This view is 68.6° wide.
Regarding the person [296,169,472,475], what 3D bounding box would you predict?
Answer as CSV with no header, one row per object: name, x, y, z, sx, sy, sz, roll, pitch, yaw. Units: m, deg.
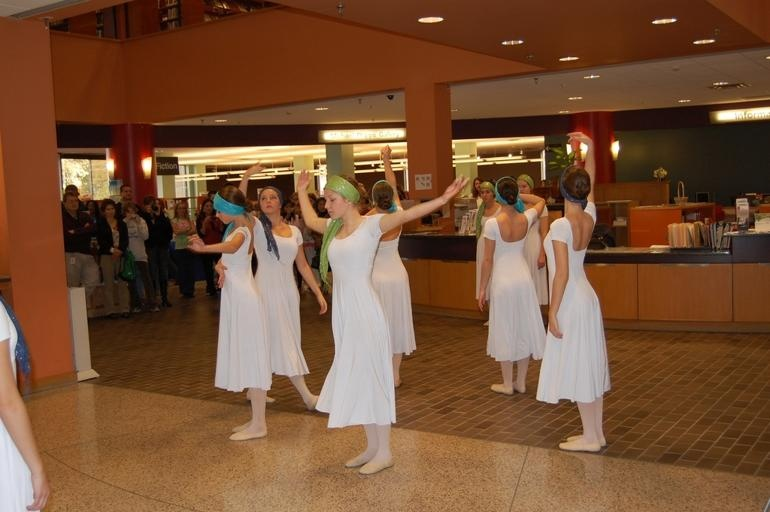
person,-0.178,0.547,4.620,0.702,2.401,1.552,-7,8,-40

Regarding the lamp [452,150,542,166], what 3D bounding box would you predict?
lamp,5.086,-4.513,25.824,4.713,0.616,1.538,-7,9,-33

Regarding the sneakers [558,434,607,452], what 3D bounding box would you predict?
sneakers,1.685,1.570,4.831,0.285,0.124,0.172,5,4,18

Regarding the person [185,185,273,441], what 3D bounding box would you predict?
person,-1.395,0.521,5.377,0.564,2.342,0.607,-3,6,-14

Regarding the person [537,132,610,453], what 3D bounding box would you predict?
person,1.597,0.450,4.818,0.654,2.418,0.436,-2,6,-2
